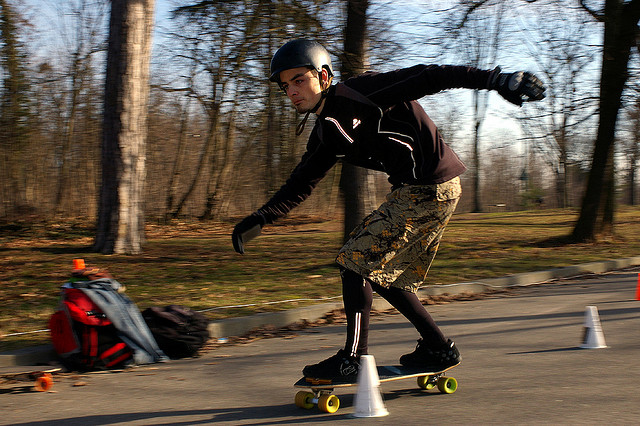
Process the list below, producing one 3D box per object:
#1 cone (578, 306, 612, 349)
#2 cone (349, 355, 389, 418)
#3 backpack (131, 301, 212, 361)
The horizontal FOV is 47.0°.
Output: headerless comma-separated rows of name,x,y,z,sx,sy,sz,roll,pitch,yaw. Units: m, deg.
cone,3.426,1.424,9.130,0.383,0.496,0.311,1,13,14
cone,0.490,1.722,7.315,0.388,0.642,0.206,-1,14,3
backpack,-1.782,1.511,9.187,1.146,0.327,0.634,18,31,-14
